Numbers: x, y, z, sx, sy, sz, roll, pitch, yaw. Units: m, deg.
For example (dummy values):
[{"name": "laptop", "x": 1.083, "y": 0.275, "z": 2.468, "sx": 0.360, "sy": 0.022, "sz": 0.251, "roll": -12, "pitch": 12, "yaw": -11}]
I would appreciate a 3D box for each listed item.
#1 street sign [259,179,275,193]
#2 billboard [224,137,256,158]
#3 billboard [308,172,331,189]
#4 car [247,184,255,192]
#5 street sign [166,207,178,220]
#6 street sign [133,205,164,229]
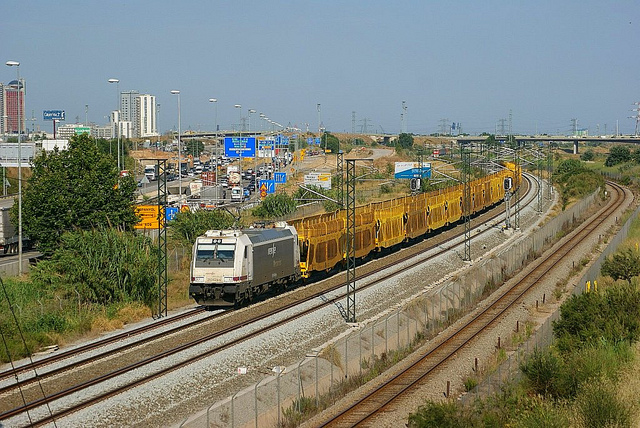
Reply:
[{"name": "street sign", "x": -7.208, "y": -3.736, "z": 95.256, "sx": 1.797, "sy": 1.787, "sz": 0.182, "roll": 7, "pitch": -12, "yaw": -44}, {"name": "billboard", "x": -10.558, "y": -8.777, "z": 92.414, "sx": 2.650, "sy": 2.184, "sz": 0.041, "roll": -1, "pitch": 5, "yaw": 11}, {"name": "billboard", "x": -0.143, "y": -4.747, "z": 101.656, "sx": 2.491, "sy": 2.587, "sz": 0.295, "roll": 0, "pitch": -4, "yaw": -6}, {"name": "car", "x": -13.036, "y": -4.910, "z": 131.880, "sx": 1.345, "sy": 1.210, "sz": 3.200, "roll": -1, "pitch": -1, "yaw": -1}, {"name": "street sign", "x": -16.304, "y": -0.020, "z": 76.901, "sx": 1.068, "sy": 1.357, "sz": 0.199, "roll": -2, "pitch": -1, "yaw": 18}, {"name": "street sign", "x": -16.967, "y": 0.274, "z": 68.882, "sx": 2.039, "sy": 1.698, "sz": 0.282, "roll": -2, "pitch": 6, "yaw": -33}]
